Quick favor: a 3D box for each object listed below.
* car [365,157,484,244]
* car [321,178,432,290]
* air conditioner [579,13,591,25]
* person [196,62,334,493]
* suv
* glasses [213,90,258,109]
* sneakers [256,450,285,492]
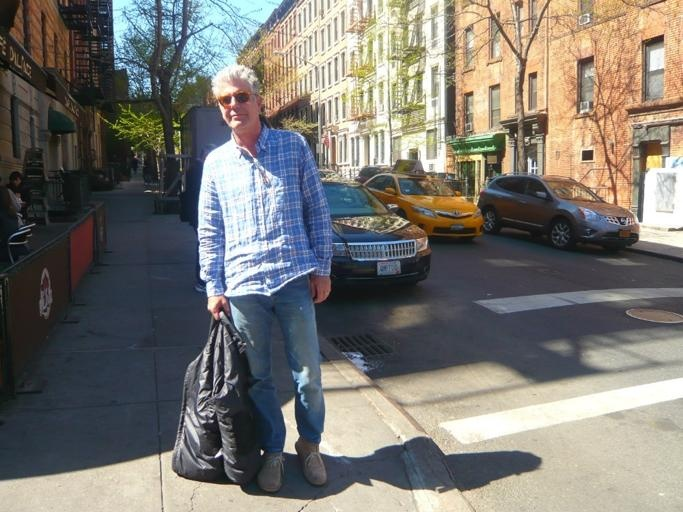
[{"bbox_3d":[2.296,-1.616,16.212,2.134,2.329,5.314,-1,9,-17],"label":"car"},{"bbox_3d":[0.554,-0.467,9.516,1.687,1.650,2.949,-2,11,-4],"label":"car"},{"bbox_3d":[11.038,-10.504,23.597,0.318,0.434,0.605,-5,7,-14],"label":"air conditioner"},{"bbox_3d":[-0.477,0.149,3.208,0.819,2.559,0.563,-1,11,2],"label":"person"},{"bbox_3d":[6.140,-1.241,15.371,2.173,1.935,4.781,-3,7,-28],"label":"suv"},{"bbox_3d":[-0.646,-0.909,3.126,0.245,0.094,0.094,0,11,7],"label":"glasses"},{"bbox_3d":[-0.448,1.304,3.260,0.144,0.248,0.414,6,-5,-6],"label":"sneakers"}]
